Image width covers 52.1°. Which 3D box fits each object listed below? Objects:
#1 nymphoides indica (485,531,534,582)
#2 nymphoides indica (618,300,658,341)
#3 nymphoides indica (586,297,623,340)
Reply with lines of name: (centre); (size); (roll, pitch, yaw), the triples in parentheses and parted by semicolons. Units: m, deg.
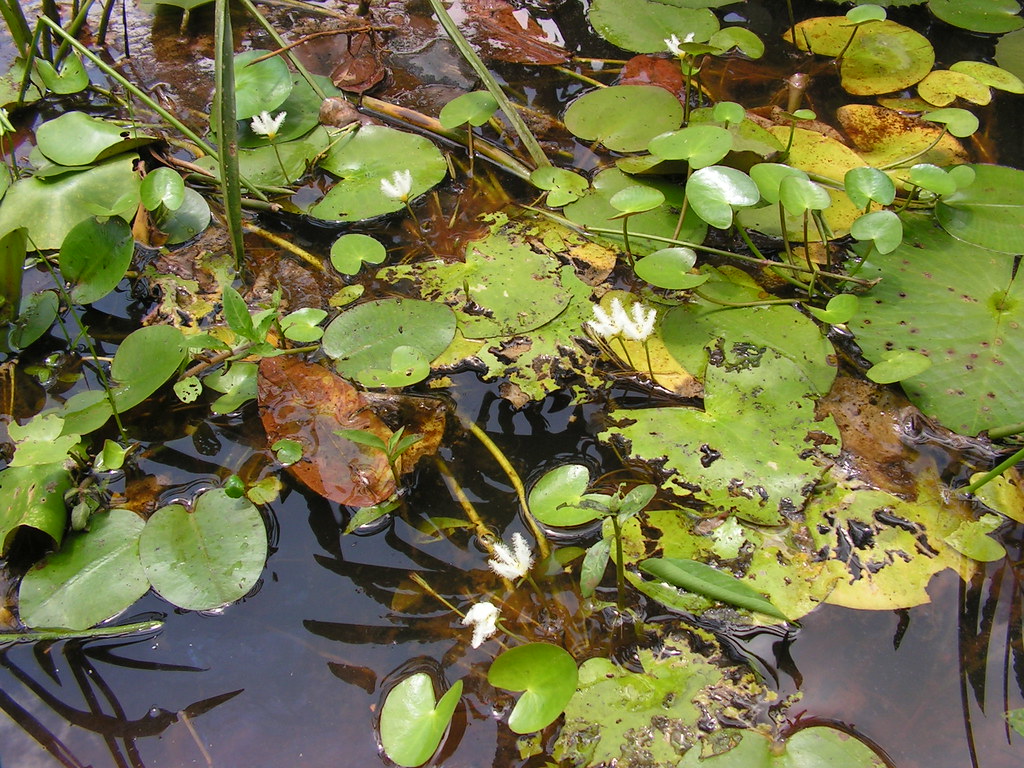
nymphoides indica: (-0.004, 0.434, 2.661); (0.133, 0.078, 0.128); (-3, 83, -3)
nymphoides indica: (0.349, -0.171, 2.979); (0.134, 0.066, 0.124); (3, 51, -16)
nymphoides indica: (0.292, -0.177, 2.945); (0.062, 0.108, 0.109); (3, 36, -37)
